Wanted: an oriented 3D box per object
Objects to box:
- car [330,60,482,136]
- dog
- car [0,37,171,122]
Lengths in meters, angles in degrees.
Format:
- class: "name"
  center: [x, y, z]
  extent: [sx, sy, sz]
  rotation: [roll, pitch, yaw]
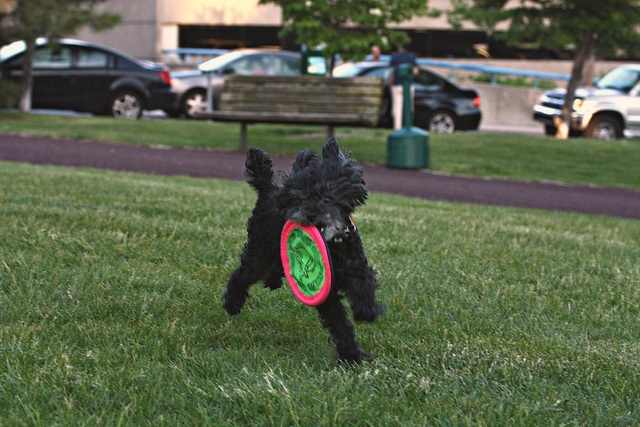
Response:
- class: "car"
  center: [1.878, -2.171, 16.014]
  extent: [2.684, 0.973, 1.273]
  rotation: [7, 8, -11]
- class: "dog"
  center: [0.027, 0.245, 8.426]
  extent: [0.789, 1.959, 1.923]
  rotation: [-14, 12, -16]
- class: "car"
  center: [-3.367, -2.106, 12.475]
  extent: [2.394, 0.863, 1.070]
  rotation: [10, 3, -8]
